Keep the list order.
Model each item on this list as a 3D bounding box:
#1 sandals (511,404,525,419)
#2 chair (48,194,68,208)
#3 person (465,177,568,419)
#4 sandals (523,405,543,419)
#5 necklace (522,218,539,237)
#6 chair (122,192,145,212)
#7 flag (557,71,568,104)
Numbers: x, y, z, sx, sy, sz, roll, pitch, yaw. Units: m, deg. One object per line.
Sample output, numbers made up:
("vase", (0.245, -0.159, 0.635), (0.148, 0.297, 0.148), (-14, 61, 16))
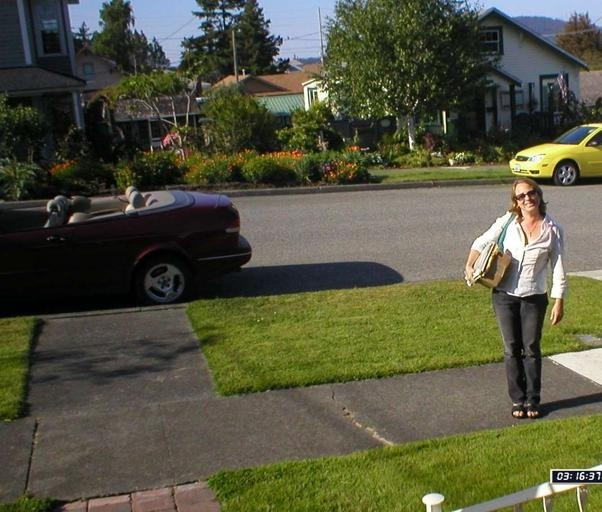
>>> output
("sandals", (1.750, 1.255, 4.443), (0.067, 0.051, 0.104), (-3, 2, 9))
("chair", (-3.583, -0.802, 8.229), (0.147, 0.169, 0.533), (-9, 12, -2))
("person", (1.749, 0.319, 4.502), (0.728, 1.881, 0.475), (5, 12, 29))
("sandals", (1.872, 1.257, 4.439), (0.067, 0.066, 0.147), (-3, -5, 3))
("necklace", (1.844, -0.229, 4.425), (0.113, 0.141, 0.038), (-1, -6, 17))
("chair", (-2.433, -0.795, 7.993), (0.270, 0.340, 0.284), (1, 5, -31))
("flag", (15.358, -9.927, 32.282), (0.551, 1.802, 5.250), (4, 14, 25))
